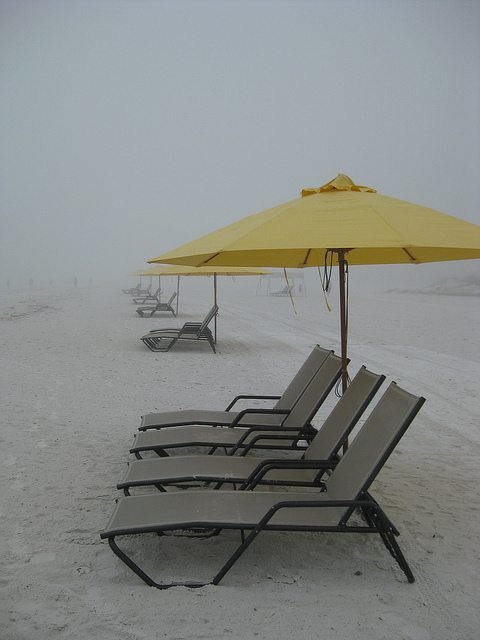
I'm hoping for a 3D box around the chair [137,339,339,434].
[{"bbox_3d":[-0.044,0.564,4.280,1.382,0.747,0.620,3,3,-8],"label":"chair"}]

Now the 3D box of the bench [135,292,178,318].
[{"bbox_3d":[-2.900,-0.504,19.194,1.585,1.022,0.963,0,5,-10],"label":"bench"}]

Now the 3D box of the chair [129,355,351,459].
[{"bbox_3d":[-0.039,0.504,3.819,1.262,0.637,0.449,4,3,-8],"label":"chair"}]

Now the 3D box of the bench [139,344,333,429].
[{"bbox_3d":[-0.035,0.539,4.287,1.407,0.662,0.611,3,1,-7],"label":"bench"}]

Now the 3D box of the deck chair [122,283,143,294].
[{"bbox_3d":[-6.836,-2.040,34.117,1.277,0.765,0.694,0,2,-24],"label":"deck chair"}]

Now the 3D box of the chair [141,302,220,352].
[{"bbox_3d":[-1.207,0.249,10.722,1.333,0.859,0.914,1,1,-5],"label":"chair"}]

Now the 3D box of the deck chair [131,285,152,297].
[{"bbox_3d":[-5.813,-1.717,32.820,1.684,0.853,0.874,-1,6,-10],"label":"deck chair"}]

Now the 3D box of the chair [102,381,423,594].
[{"bbox_3d":[0.110,0.835,2.785,1.494,0.962,0.851,0,-3,1],"label":"chair"}]

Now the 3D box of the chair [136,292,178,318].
[{"bbox_3d":[-2.928,-0.500,19.294,1.550,1.035,0.945,0,5,-9],"label":"chair"}]

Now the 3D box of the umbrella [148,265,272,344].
[{"bbox_3d":[-0.534,-0.564,12.211,2.730,1.822,1.837,0,6,-10],"label":"umbrella"}]

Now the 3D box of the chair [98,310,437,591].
[{"bbox_3d":[0.166,0.917,4.435,2.446,1.146,1.354,-2,7,-12],"label":"chair"}]

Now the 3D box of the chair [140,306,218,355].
[{"bbox_3d":[-1.146,0.203,10.539,1.371,0.862,0.894,2,1,-5],"label":"chair"}]
